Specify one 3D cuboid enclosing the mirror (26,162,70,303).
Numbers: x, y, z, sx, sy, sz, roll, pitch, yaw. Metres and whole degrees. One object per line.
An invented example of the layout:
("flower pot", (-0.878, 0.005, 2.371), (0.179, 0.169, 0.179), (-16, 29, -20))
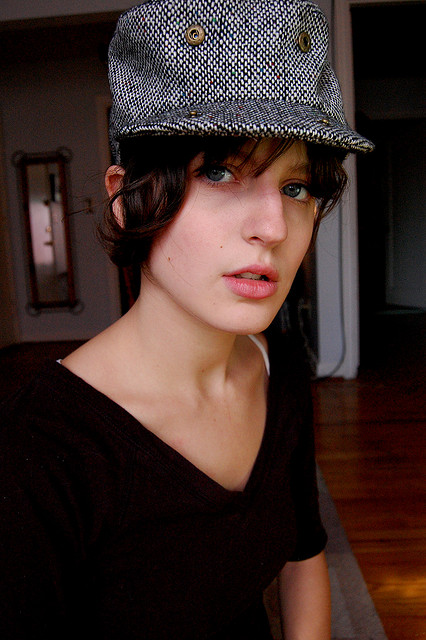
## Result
("mirror", (-1.367, -0.677, 5.160), (0.404, 1.530, 0.039), (-1, 34, -10))
